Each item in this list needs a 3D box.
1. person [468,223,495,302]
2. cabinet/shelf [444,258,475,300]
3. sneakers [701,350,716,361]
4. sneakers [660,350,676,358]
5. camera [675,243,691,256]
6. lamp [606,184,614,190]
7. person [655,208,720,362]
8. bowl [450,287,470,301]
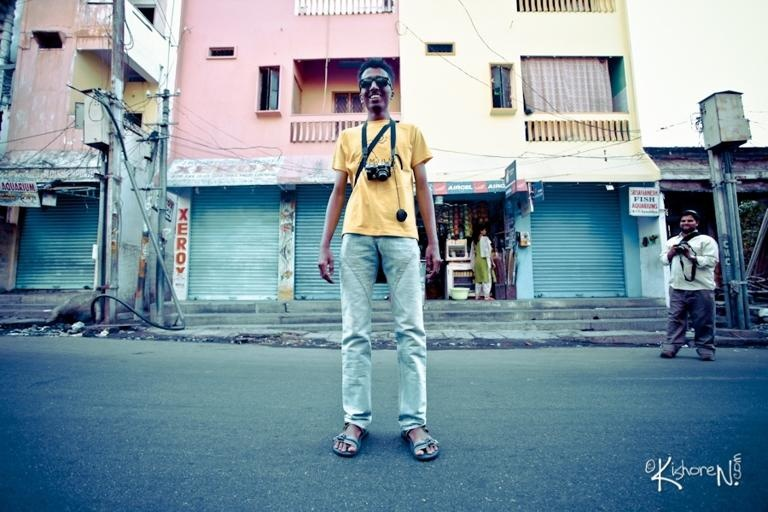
[{"bbox_3d":[2.903,0.152,17.215,0.626,2.223,0.954,2,-4,-3],"label":"person"},{"bbox_3d":[2.206,0.584,17.831,0.974,1.324,1.056,0,-4,-4],"label":"cabinet/shelf"},{"bbox_3d":[5.539,1.705,9.996,0.250,0.160,0.121,2,-4,-3],"label":"sneakers"},{"bbox_3d":[4.984,1.731,10.284,0.272,0.124,0.238,0,-4,17],"label":"sneakers"},{"bbox_3d":[5.276,-0.111,10.372,0.218,0.227,0.169,4,5,21],"label":"camera"},{"bbox_3d":[6.418,-1.992,16.717,0.249,0.066,0.230,0,-20,4],"label":"lamp"},{"bbox_3d":[5.388,0.490,10.363,0.881,2.626,0.516,-1,-5,27],"label":"person"},{"bbox_3d":[2.126,1.090,16.882,0.524,0.314,0.347,1,-4,8],"label":"bowl"}]
